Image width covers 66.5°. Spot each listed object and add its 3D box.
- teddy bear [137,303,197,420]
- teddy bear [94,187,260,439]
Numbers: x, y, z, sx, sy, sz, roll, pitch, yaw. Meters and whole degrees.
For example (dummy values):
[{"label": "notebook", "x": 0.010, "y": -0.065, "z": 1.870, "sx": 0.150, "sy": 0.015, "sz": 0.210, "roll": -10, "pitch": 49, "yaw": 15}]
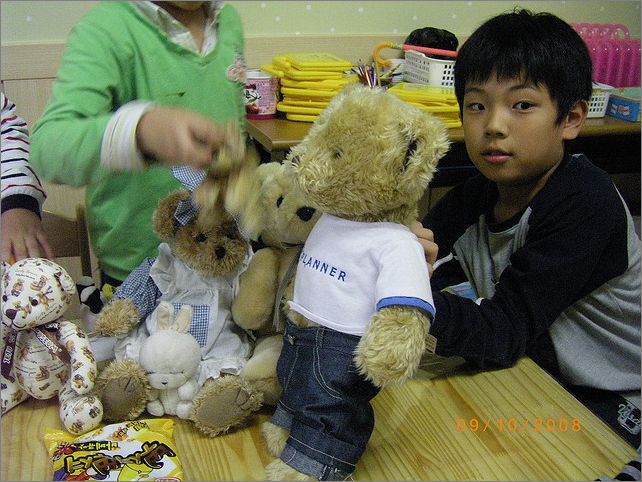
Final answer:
[{"label": "teddy bear", "x": -0.279, "y": 0.225, "z": 0.910, "sx": 0.112, "sy": 0.212, "sz": 0.102, "roll": 8, "pitch": 16, "yaw": 2}, {"label": "teddy bear", "x": -0.257, "y": 0.106, "z": 0.971, "sx": 0.319, "sy": 0.459, "sz": 0.289, "roll": 9, "pitch": 13, "yaw": -8}]
